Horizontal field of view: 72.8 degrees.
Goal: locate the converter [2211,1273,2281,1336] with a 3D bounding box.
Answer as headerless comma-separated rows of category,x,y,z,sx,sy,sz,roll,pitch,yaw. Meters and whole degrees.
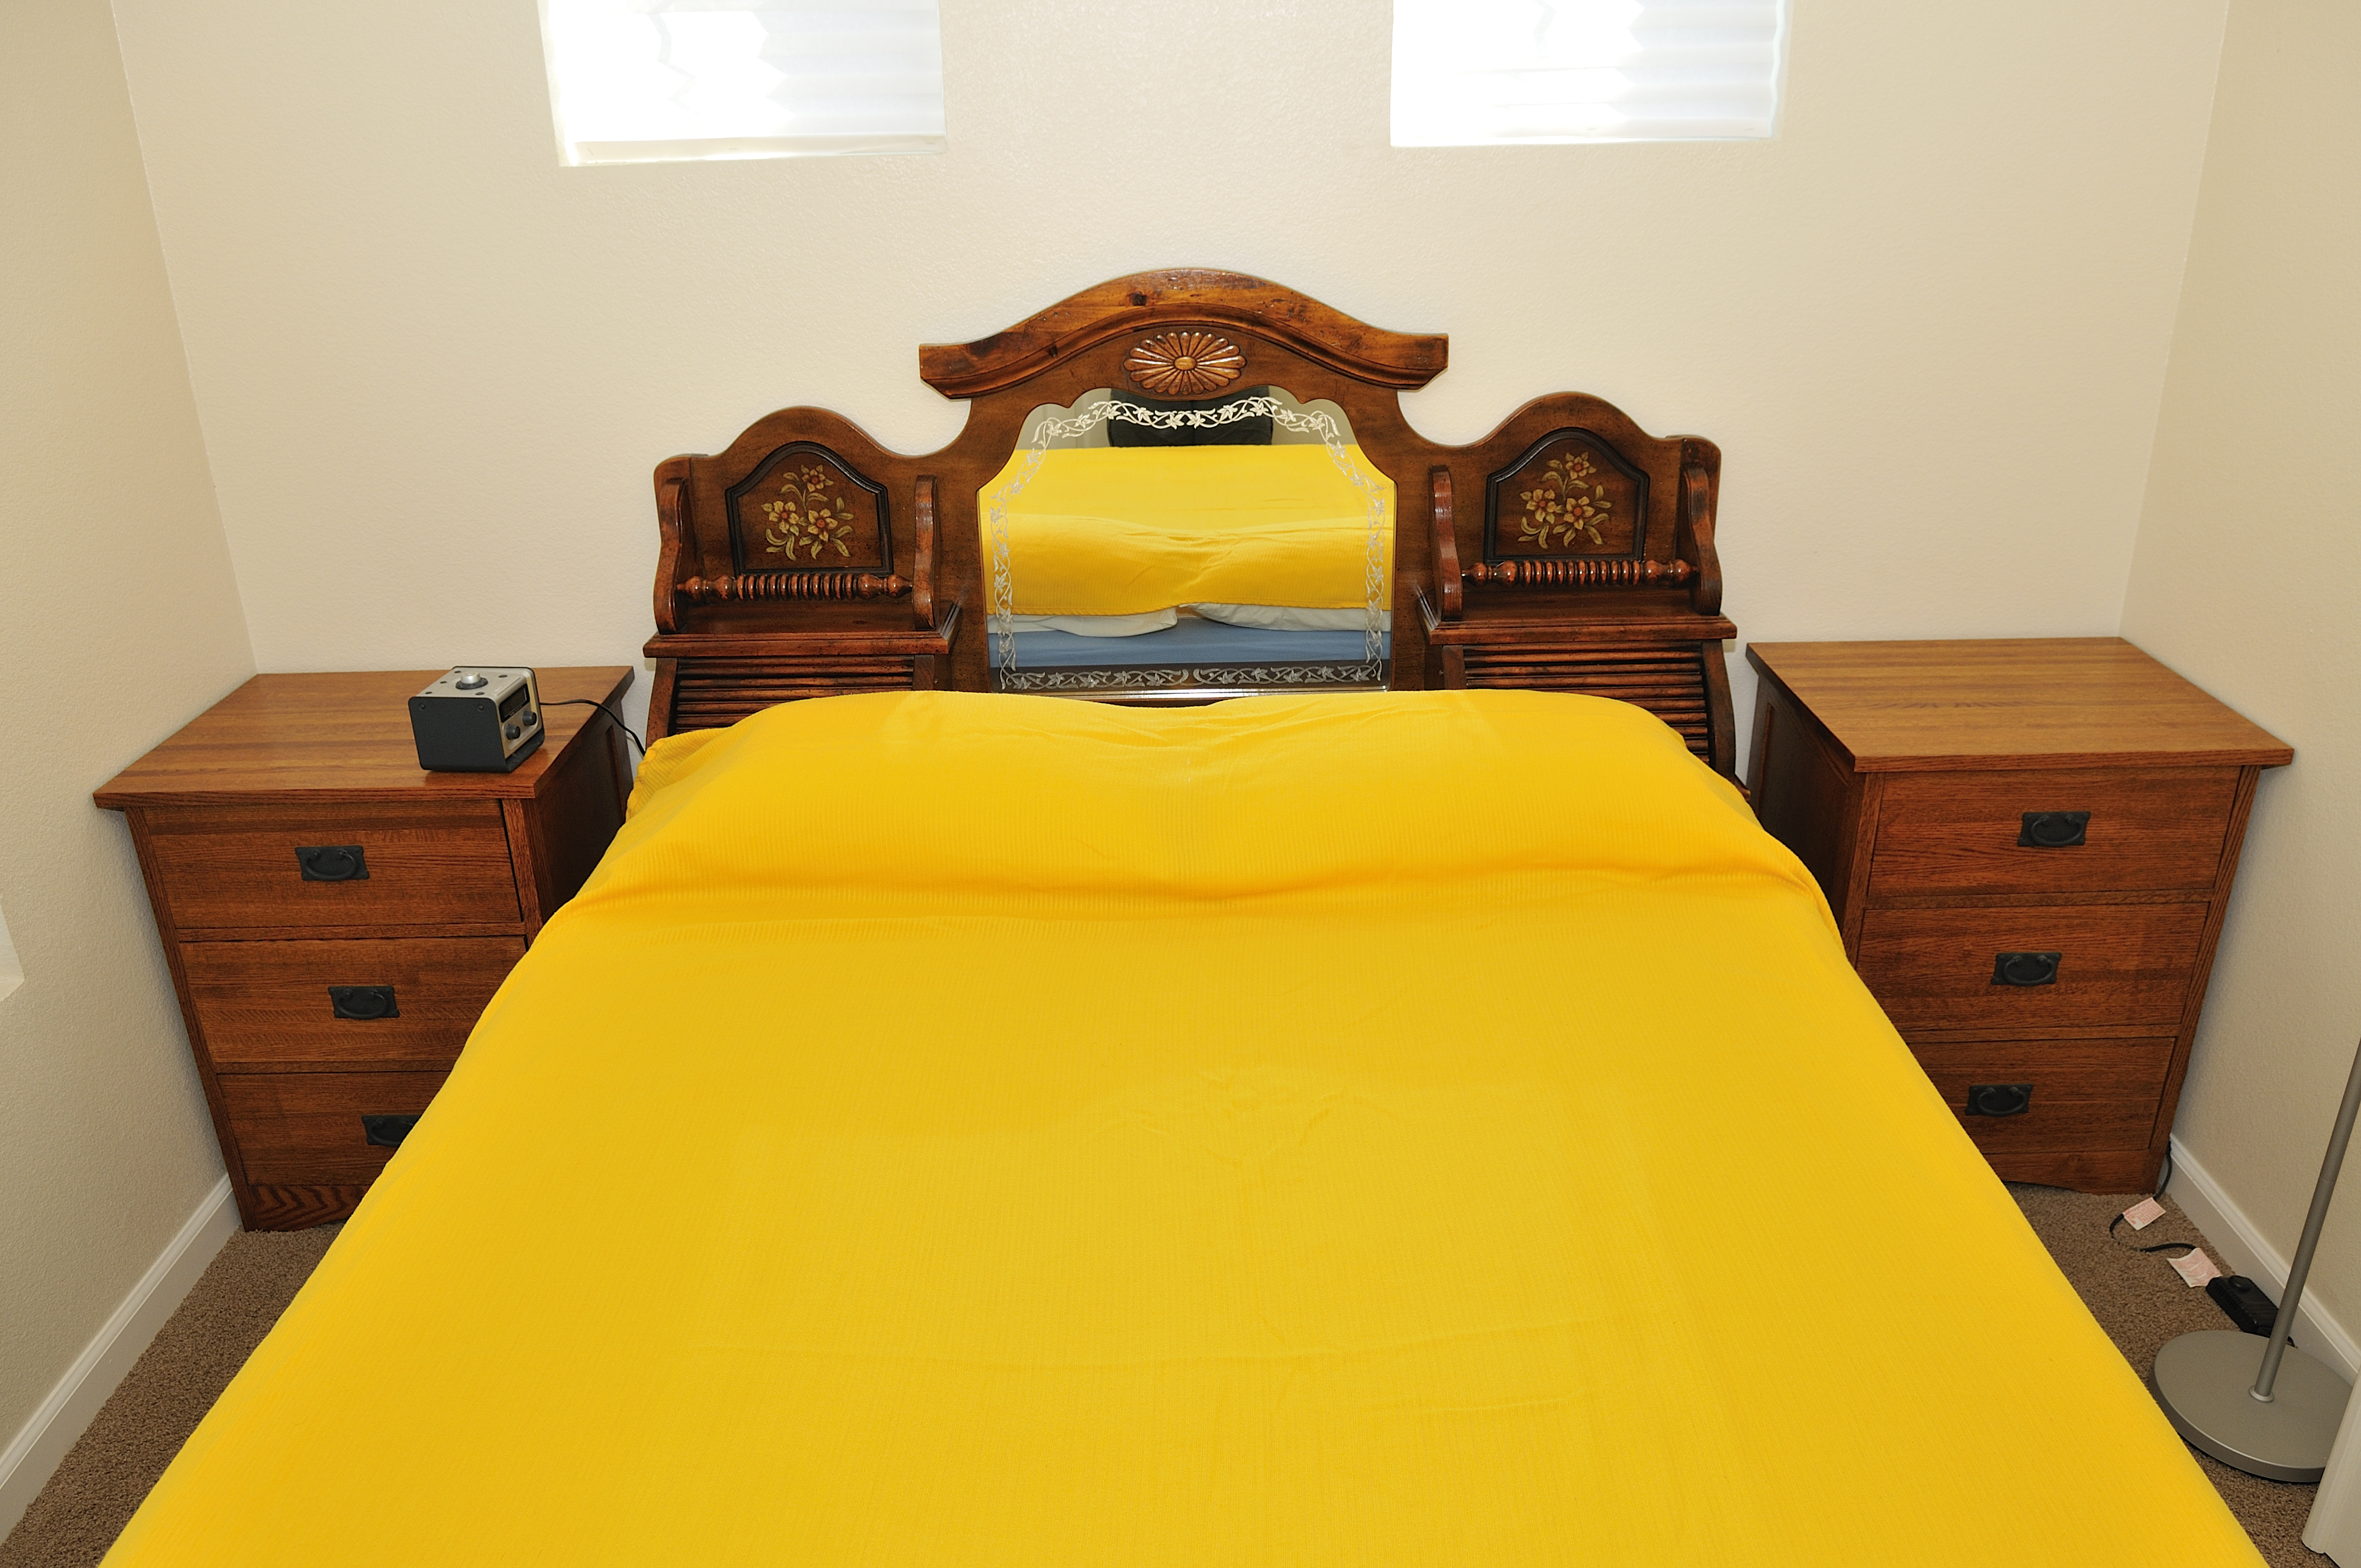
converter,2.051,0.996,3.077,0.077,0.039,0.102,3,19,11

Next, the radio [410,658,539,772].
radio,-1.391,-0.137,3.197,0.187,0.170,0.238,0,21,-4

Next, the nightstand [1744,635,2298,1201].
nightstand,1.697,0.301,3.493,0.835,1.062,0.731,0,25,7
